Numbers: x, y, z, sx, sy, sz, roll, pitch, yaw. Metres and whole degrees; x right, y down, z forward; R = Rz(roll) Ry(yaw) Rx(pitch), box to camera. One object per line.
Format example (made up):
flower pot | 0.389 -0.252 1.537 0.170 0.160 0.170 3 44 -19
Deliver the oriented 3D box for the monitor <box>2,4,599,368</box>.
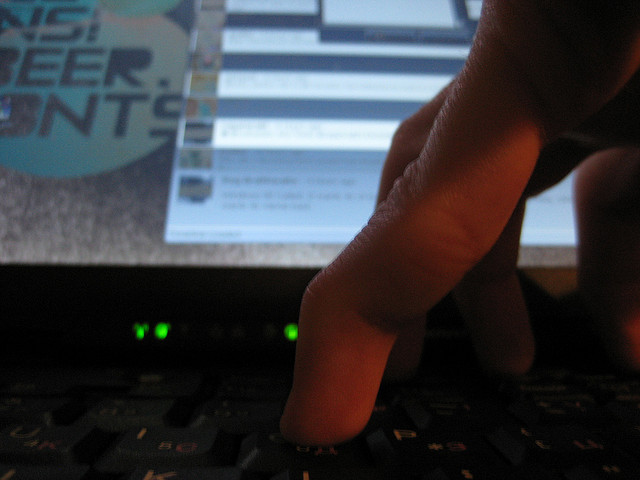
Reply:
monitor | -0.042 -0.040 0.511 0.400 0.041 0.246 0 81 -2
